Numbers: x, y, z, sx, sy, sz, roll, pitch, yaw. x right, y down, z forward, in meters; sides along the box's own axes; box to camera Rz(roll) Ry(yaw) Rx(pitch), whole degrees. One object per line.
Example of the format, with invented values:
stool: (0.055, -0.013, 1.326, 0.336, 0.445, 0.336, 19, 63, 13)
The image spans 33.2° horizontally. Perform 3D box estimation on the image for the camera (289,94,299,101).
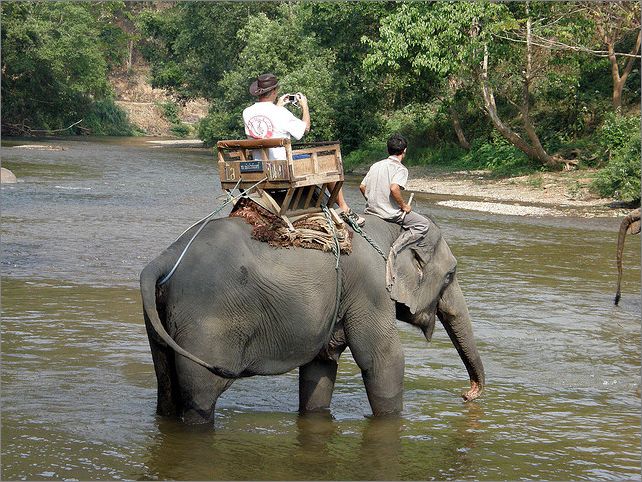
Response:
camera: (-0.388, -2.009, 15.166, 0.105, 0.104, 0.211, -7, 13, -15)

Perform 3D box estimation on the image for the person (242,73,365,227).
person: (-0.429, -1.388, 15.272, 1.495, 1.939, 0.834, 0, 14, 14)

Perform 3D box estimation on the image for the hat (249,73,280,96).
hat: (-0.796, -2.245, 15.369, 0.329, 0.132, 0.373, 31, 49, 35)

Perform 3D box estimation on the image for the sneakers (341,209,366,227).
sneakers: (0.433, -0.328, 15.204, 0.366, 0.130, 0.175, 22, 33, 25)
